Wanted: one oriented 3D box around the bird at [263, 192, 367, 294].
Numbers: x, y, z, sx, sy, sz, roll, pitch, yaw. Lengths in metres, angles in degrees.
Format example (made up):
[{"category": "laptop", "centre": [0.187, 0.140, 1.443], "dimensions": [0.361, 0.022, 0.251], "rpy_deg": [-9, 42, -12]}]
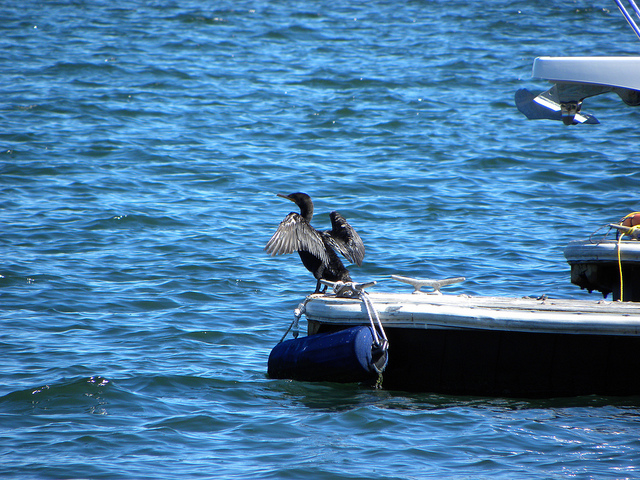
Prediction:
[{"category": "bird", "centre": [0.010, 0.018, 28.204], "dimensions": [1.462, 1.884, 1.415], "rpy_deg": [-1, -6, 11]}]
